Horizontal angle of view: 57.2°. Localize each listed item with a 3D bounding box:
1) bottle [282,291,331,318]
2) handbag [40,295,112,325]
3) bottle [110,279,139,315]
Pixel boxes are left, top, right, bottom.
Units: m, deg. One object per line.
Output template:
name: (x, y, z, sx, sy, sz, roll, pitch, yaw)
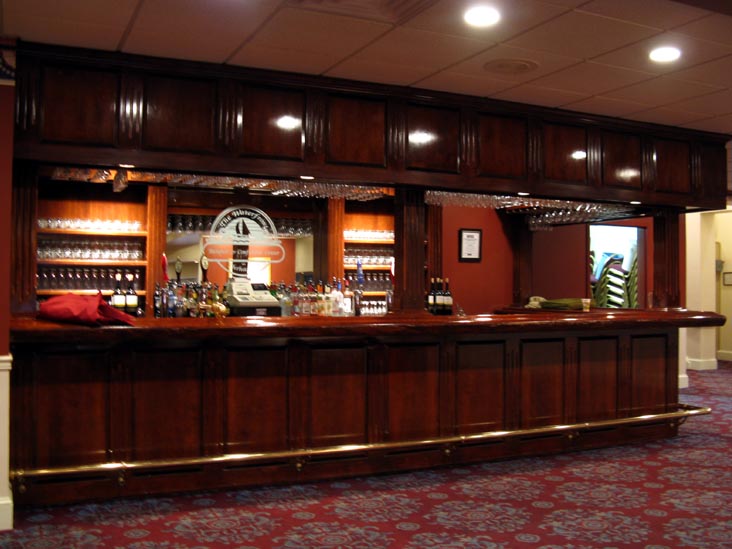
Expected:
bottle: (-0.589, 0.291, 6.681, 0.343, 0.139, 0.338, 1, 2, 0)
handbag: (-2.045, 0.237, 4.676, 0.307, 0.122, 0.267, 4, 2, 36)
bottle: (-2.289, 0.212, 6.312, 0.190, 0.352, 0.358, 2, -1, 21)
